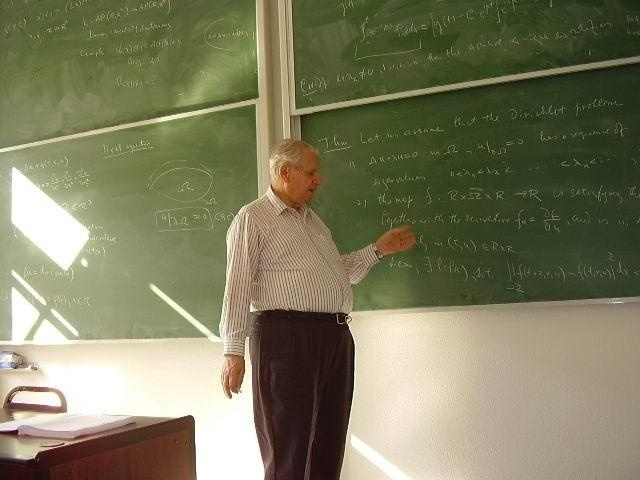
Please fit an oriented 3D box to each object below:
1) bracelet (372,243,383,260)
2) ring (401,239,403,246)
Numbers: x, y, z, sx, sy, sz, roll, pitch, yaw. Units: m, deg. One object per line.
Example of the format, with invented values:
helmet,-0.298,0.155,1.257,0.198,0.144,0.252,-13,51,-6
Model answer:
bracelet,0.282,0.057,2.708,0.022,0.068,0.054,-25,-10,17
ring,0.390,0.011,2.683,0.009,0.018,0.015,1,-1,1
